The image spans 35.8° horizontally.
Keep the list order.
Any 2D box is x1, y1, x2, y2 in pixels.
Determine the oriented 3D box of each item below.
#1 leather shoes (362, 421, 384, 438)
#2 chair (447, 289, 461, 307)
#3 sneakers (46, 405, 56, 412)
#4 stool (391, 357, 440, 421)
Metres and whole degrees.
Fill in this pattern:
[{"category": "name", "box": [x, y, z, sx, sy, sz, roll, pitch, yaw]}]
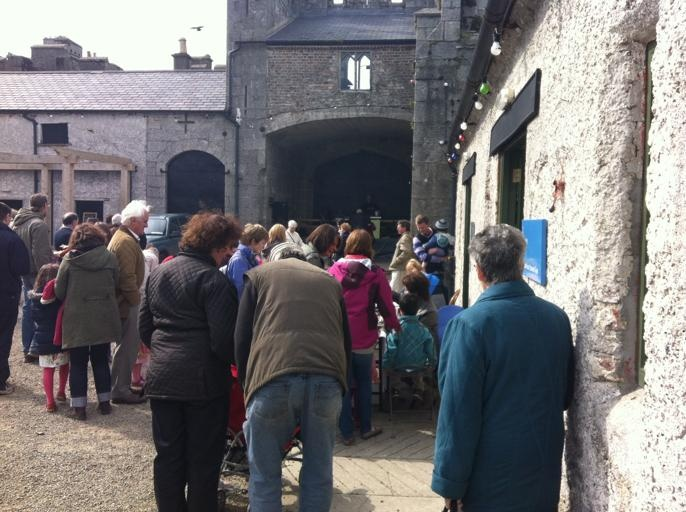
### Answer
[{"category": "leather shoes", "box": [0.320, 1.845, 11.053, 0.095, 0.128, 0.266, -13, -12, 32]}, {"category": "chair", "box": [1.511, 0.572, 14.324, 0.171, 0.254, 0.188, 2, 5, 3]}, {"category": "sneakers", "box": [-3.195, 1.682, 11.600, 0.115, 0.071, 0.108, 4, -2, -20]}, {"category": "stool", "box": [0.791, 1.463, 11.646, 0.559, 0.613, 0.540, -1, -5, 3]}]
